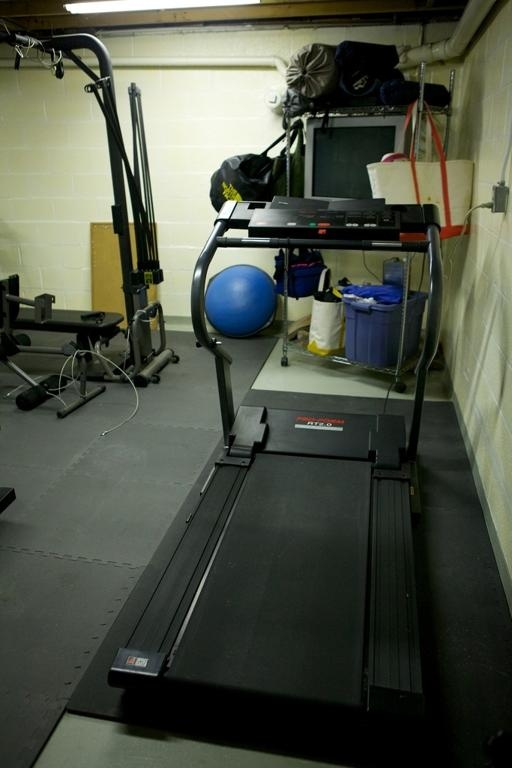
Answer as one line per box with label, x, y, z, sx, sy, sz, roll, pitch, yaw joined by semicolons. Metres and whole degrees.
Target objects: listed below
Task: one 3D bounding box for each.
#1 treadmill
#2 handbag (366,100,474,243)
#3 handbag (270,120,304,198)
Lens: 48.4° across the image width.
treadmill;0.039;0.033;1.939;0.760;1.106;1.740;2;26;14
handbag;0.920;-1.177;3.143;0.492;0.783;0.237;-1;-7;2
handbag;0.234;-1.666;4.225;0.240;0.524;0.563;-3;19;-3
